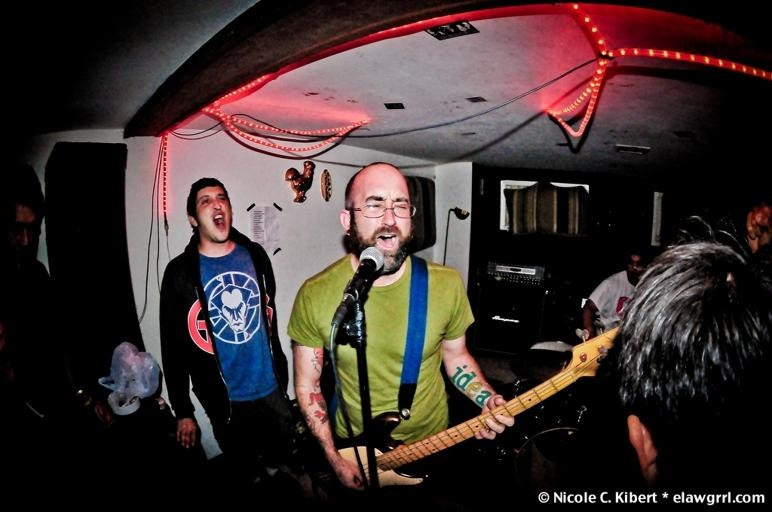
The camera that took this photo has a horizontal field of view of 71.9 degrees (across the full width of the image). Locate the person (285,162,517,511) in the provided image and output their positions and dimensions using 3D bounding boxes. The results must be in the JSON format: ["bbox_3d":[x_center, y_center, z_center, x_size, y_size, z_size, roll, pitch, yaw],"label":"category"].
[{"bbox_3d":[0.041,0.525,3.840,1.522,2.152,1.141,-4,14,-14],"label":"person"}]

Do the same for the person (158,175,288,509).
[{"bbox_3d":[-1.621,0.647,5.289,1.240,2.882,0.691,0,1,-21],"label":"person"}]

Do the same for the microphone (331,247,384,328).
[{"bbox_3d":[-0.182,0.165,3.146,0.159,0.543,0.147,30,-29,0],"label":"microphone"}]
